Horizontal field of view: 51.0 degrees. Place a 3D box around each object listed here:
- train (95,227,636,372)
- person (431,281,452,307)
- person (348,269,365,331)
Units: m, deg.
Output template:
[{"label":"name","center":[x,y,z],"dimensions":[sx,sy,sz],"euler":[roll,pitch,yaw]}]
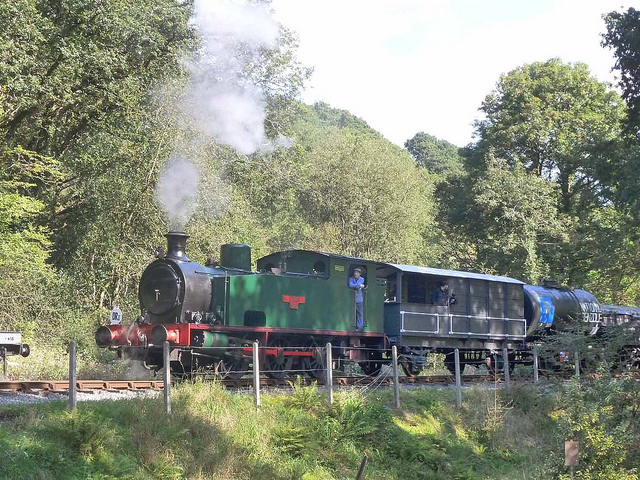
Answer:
[{"label":"train","center":[2.383,2.303,25.859],"dimensions":[4.376,4.718,25.830],"euler":[-5,-11,45]},{"label":"person","center":[4.534,2.069,25.162],"dimensions":[0.633,1.167,0.433],"euler":[11,-18,-28]},{"label":"person","center":[1.226,2.051,22.309],"dimensions":[0.335,1.988,0.793],"euler":[-5,-14,34]}]
